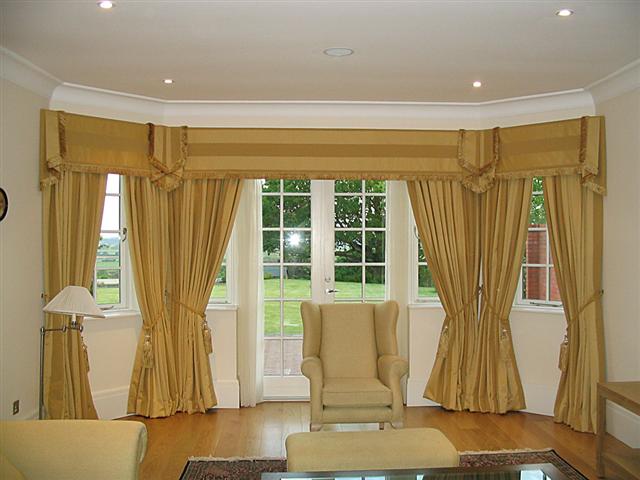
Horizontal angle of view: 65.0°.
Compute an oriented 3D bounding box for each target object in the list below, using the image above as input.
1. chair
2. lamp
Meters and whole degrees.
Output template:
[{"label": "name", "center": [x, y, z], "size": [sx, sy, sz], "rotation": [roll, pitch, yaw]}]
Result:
[{"label": "chair", "center": [0.313, 1.226, 4.984], "size": [0.997, 1.176, 0.991], "rotation": [1, -5, -12]}, {"label": "lamp", "center": [-2.237, 1.011, 4.442], "size": [0.522, 1.334, 1.054], "rotation": [-4, 8, -30]}]
